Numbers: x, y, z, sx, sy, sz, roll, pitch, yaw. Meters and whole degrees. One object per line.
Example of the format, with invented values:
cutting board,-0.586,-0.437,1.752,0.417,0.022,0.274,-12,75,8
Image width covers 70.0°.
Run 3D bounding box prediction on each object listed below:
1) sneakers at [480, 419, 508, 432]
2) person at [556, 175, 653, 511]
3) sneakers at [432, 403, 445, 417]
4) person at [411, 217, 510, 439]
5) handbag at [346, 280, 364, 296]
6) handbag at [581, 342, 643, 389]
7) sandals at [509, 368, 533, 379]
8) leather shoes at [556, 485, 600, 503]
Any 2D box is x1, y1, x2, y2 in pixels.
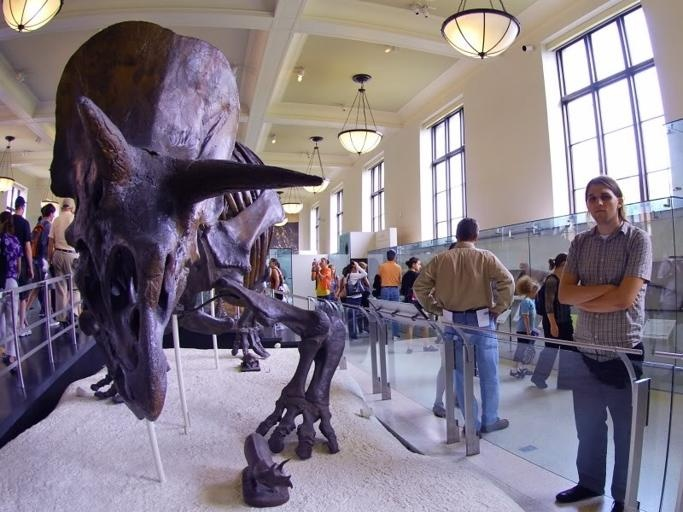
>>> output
sneakers,1.163,1.284,3.697,0.208,0.092,0.079,-13,1,-7
person,1.656,0.526,3.123,0.533,2.098,0.706,2,5,33
sneakers,0.847,1.356,4.285,0.093,0.138,0.139,0,-32,-4
person,1.081,0.530,4.042,0.663,1.684,0.986,-2,4,-21
handbag,0.229,0.634,9.154,0.327,0.494,0.259,1,-7,-8
handbag,1.612,0.680,2.898,0.070,0.283,0.287,-15,5,-39
sandals,1.226,0.799,3.342,0.134,0.058,0.051,-5,1,26
leather shoes,1.505,1.529,3.125,0.285,0.124,0.101,0,-8,6
